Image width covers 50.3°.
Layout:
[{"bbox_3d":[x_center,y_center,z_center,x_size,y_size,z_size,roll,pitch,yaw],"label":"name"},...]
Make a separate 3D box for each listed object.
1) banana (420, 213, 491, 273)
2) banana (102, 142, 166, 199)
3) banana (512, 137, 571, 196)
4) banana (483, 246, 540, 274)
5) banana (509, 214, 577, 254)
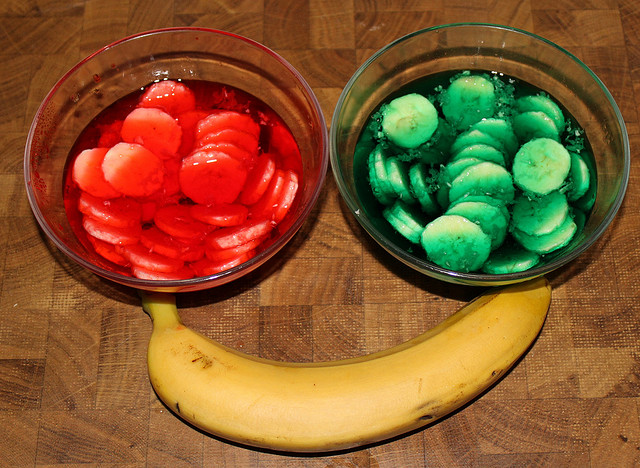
[{"bbox_3d":[0.348,0.025,1.755,0.170,0.107,0.110,21,62,17],"label":"banana"},{"bbox_3d":[-0.484,-0.177,1.785,0.158,0.173,0.042,8,34,-9],"label":"banana"},{"bbox_3d":[0.575,-0.174,1.778,0.136,0.067,0.142,20,61,16],"label":"banana"},{"bbox_3d":[0.495,0.068,1.768,0.090,0.025,0.091,-10,39,2],"label":"banana"},{"bbox_3d":[0.590,0.014,1.760,0.117,0.030,0.117,11,63,12],"label":"banana"}]
